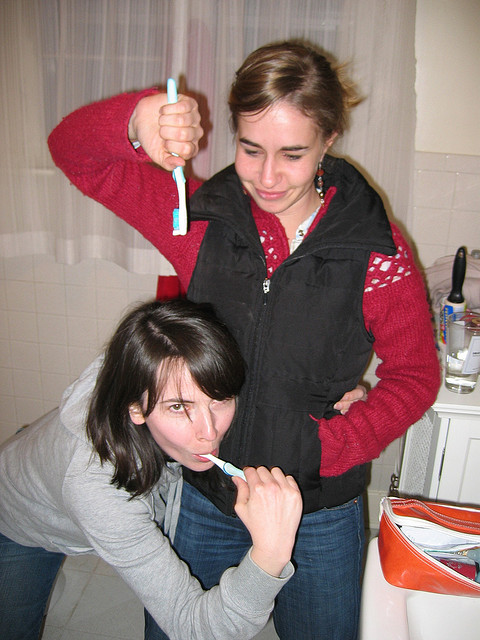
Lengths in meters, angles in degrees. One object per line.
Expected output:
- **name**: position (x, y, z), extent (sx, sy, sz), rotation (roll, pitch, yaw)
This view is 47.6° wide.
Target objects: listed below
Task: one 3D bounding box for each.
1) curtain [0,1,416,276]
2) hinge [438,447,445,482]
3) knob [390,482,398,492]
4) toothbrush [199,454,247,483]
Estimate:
- **curtain**: position (-0.063, -0.556, 1.471), extent (1.152, 0.870, 0.093), rotation (2, 15, 6)
- **hinge**: position (0.596, 0.425, 1.601), extent (0.008, 0.093, 0.005), rotation (15, 4, 18)
- **knob**: position (0.535, 0.577, 1.881), extent (0.008, 0.028, 0.022), rotation (0, 7, -20)
- **toothbrush**: position (-0.032, 0.268, 1.001), extent (0.014, 0.026, 0.186), rotation (-8, 6, -18)
